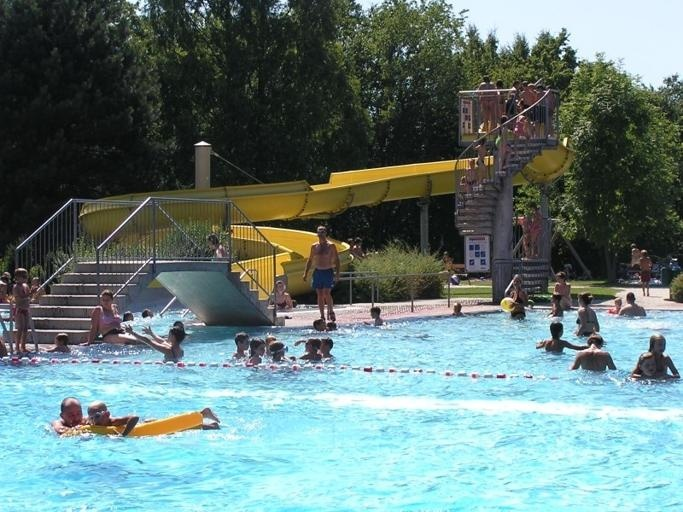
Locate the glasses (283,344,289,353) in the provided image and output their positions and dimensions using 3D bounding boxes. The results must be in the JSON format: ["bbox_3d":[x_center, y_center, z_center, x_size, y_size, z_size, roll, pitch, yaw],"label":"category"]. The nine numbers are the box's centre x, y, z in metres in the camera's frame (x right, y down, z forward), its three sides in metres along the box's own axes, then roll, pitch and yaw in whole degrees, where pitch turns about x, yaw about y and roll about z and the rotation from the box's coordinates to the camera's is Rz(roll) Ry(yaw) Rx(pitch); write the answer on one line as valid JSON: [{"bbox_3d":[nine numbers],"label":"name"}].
[{"bbox_3d":[-1.072,1.793,21.105,0.076,0.124,0.105,-3,-3,-20],"label":"glasses"}]

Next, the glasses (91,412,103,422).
[{"bbox_3d":[-3.955,2.614,17.606,0.123,0.156,0.041,-3,13,7],"label":"glasses"}]

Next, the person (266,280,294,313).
[{"bbox_3d":[-1.588,0.937,27.137,0.688,1.045,0.608,-3,-8,-19],"label":"person"}]
